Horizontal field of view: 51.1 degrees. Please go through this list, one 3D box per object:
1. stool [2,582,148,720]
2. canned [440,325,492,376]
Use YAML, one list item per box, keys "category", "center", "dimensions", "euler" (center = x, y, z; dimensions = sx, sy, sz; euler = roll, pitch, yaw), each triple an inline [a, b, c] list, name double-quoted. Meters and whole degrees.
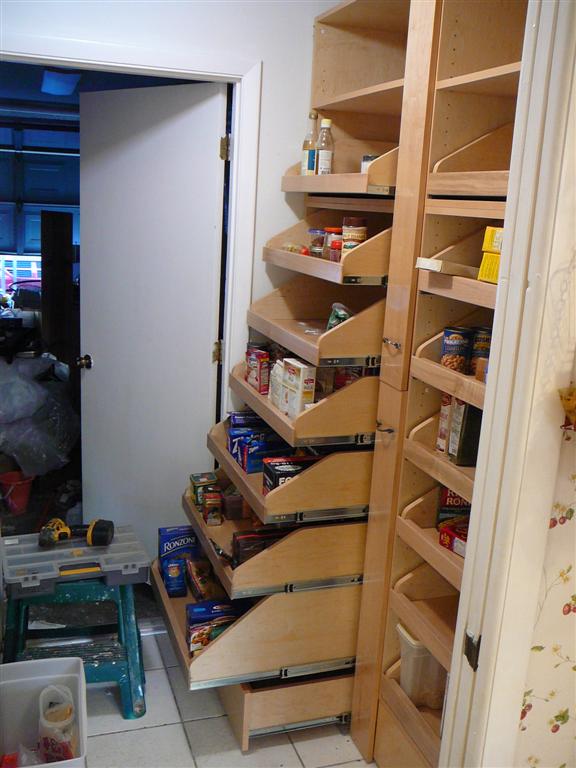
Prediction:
- category: "stool"
  center: [-0.751, 0.954, 2.345]
  dimensions: [0.556, 0.662, 0.434]
  euler: [3, -6, -17]
- category: "canned"
  center: [0.398, -0.080, 1.411]
  dimensions: [0.104, 0.107, 0.106]
  euler: [5, 13, -5]
